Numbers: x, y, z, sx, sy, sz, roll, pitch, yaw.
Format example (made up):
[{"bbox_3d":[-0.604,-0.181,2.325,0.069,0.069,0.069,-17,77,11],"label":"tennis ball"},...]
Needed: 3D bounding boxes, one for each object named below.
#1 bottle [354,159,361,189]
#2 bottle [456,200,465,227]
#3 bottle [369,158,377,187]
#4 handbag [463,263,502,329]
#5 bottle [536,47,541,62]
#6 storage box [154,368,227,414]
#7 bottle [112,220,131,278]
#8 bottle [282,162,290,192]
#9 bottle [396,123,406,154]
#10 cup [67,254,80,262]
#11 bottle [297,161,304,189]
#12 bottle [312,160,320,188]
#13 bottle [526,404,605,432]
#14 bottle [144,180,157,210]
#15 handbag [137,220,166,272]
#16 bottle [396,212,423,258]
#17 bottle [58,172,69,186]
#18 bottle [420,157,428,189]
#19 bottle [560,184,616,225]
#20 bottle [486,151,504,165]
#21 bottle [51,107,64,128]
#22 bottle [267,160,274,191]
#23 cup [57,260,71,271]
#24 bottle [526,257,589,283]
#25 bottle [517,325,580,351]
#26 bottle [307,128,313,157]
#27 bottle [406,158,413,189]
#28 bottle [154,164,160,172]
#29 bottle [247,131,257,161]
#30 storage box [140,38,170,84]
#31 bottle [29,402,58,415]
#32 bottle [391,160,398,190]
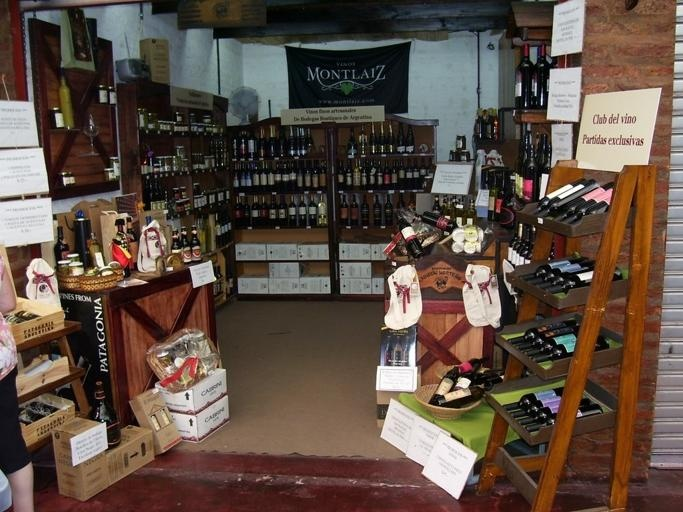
[{"bbox_3d":[0.228,-1.220,7.697,0.114,0.401,0.309,-2,12,4],"label":"bottle"},{"bbox_3d":[1.050,-0.382,4.608,0.065,0.204,0.378,0,12,13],"label":"bottle"},{"bbox_3d":[0.462,-1.209,7.661,0.117,0.390,0.256,-2,12,3],"label":"bottle"},{"bbox_3d":[1.077,0.311,3.953,0.305,0.465,0.171,0,8,4],"label":"handbag"},{"bbox_3d":[1.511,-1.537,3.955,0.023,0.099,0.063,-2,12,5],"label":"bottle"},{"bbox_3d":[-1.186,0.987,4.068,0.302,0.186,0.419,3,7,21],"label":"storage box"},{"bbox_3d":[-1.836,-0.070,4.280,0.130,0.453,0.277,-8,13,-24],"label":"bottle"},{"bbox_3d":[-0.835,-1.119,7.664,0.141,0.341,0.100,-3,12,-3],"label":"bottle"},{"bbox_3d":[0.880,-1.723,7.645,0.122,0.430,0.452,-1,12,7],"label":"bottle"},{"bbox_3d":[-2.096,0.015,4.051,0.072,0.071,0.071,0,4,0],"label":"cup"},{"bbox_3d":[-0.623,-1.193,7.694,0.118,0.396,0.158,-4,12,-4],"label":"bottle"},{"bbox_3d":[-0.391,-1.206,7.707,0.121,0.410,0.289,-3,12,-3],"label":"bottle"},{"bbox_3d":[1.167,0.853,2.785,0.458,0.135,0.139,-8,-24,-8],"label":"bottle"},{"bbox_3d":[-2.187,-0.699,5.906,0.106,0.314,0.238,-2,12,2],"label":"bottle"},{"bbox_3d":[-1.641,-0.083,4.439,0.250,0.405,0.299,-7,13,-18],"label":"handbag"},{"bbox_3d":[0.584,-0.159,4.368,0.193,0.261,0.649,-1,11,6],"label":"bottle"},{"bbox_3d":[-2.506,-0.692,4.696,0.086,0.115,0.043,-9,14,-27],"label":"bottle"},{"bbox_3d":[1.208,-1.213,7.648,0.117,0.455,0.318,-1,12,10],"label":"bottle"},{"bbox_3d":[1.328,-0.222,2.785,0.336,0.092,0.167,-34,46,-22],"label":"bottle"},{"bbox_3d":[1.958,-1.235,6.659,0.215,0.102,0.275,2,41,16],"label":"bottle"},{"bbox_3d":[-2.523,-1.208,4.572,0.050,0.167,0.095,9,17,43],"label":"bottle"},{"bbox_3d":[-1.049,-1.132,7.680,0.114,0.303,0.064,-5,12,-10],"label":"bottle"},{"bbox_3d":[-2.159,0.070,4.049,0.092,0.088,0.093,1,6,0],"label":"cup"},{"bbox_3d":[1.240,0.067,2.850,0.262,0.062,0.141,-10,14,-35],"label":"bottle"},{"bbox_3d":[1.142,0.441,2.809,0.236,0.126,0.077,-3,22,-17],"label":"bottle"},{"bbox_3d":[-0.473,-1.696,7.757,0.100,0.372,0.273,-3,12,-2],"label":"bottle"},{"bbox_3d":[0.987,-1.127,7.551,0.102,0.325,0.069,-1,12,7],"label":"bottle"},{"bbox_3d":[-2.101,-0.998,5.900,0.036,0.084,0.135,0,12,13],"label":"bottle"},{"bbox_3d":[-1.328,-1.612,7.688,0.153,0.371,0.243,-5,12,-9],"label":"bottle"},{"bbox_3d":[-2.133,-2.223,5.932,0.320,0.505,0.271,-7,13,-19],"label":"storage box"},{"bbox_3d":[-2.109,1.069,3.641,0.128,0.041,0.086,6,6,8],"label":"bottle"},{"bbox_3d":[0.776,-1.161,7.615,0.094,0.350,0.197,-1,12,6],"label":"bottle"}]
